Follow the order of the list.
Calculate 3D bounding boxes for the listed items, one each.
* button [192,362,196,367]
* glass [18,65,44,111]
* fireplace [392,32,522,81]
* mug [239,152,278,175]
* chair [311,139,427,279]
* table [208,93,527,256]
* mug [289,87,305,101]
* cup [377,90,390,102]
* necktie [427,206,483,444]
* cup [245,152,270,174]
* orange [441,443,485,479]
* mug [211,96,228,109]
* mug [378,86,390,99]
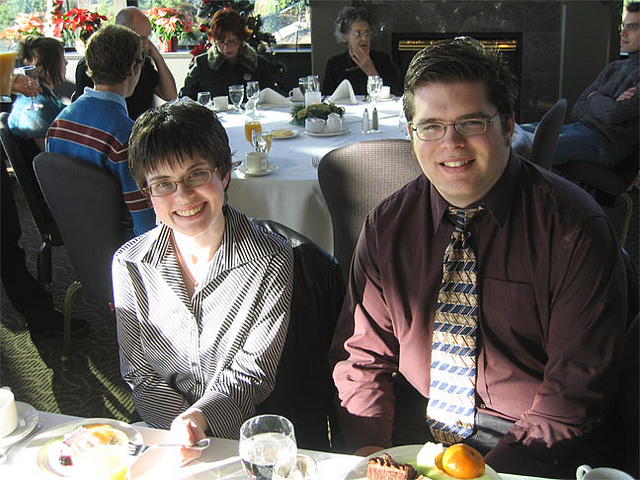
[{"bbox_3d":[-0.355,0.352,1.454,0.012,0.014,0.001,-1,17,17],"label":"button"},{"bbox_3d":[-1.737,-0.907,3.089,0.103,0.267,0.406,-13,18,-23],"label":"glass"},{"bbox_3d":[1.524,-2.050,5.782,1.403,0.653,0.277,-5,16,4],"label":"fireplace"},{"bbox_3d":[-0.319,-0.397,2.560,0.130,0.060,0.138,9,16,33],"label":"mug"},{"bbox_3d":[0.180,-0.187,2.271,0.487,0.781,0.546,-5,16,0],"label":"chair"},{"bbox_3d":[0.135,-0.538,3.301,2.207,0.809,2.083,0,17,19],"label":"table"},{"bbox_3d":[-0.190,-1.174,4.226,0.122,0.125,0.170,-2,1,-2],"label":"mug"},{"bbox_3d":[0.496,-1.114,3.975,0.101,0.080,0.105,0,2,0],"label":"cup"},{"bbox_3d":[0.375,0.240,1.442,0.135,0.637,0.200,1,17,21],"label":"necktie"},{"bbox_3d":[-0.306,-0.388,2.574,0.112,0.082,0.091,15,25,28],"label":"cup"},{"bbox_3d":[0.279,0.429,1.010,0.082,0.053,0.052,-1,17,15],"label":"orange"},{"bbox_3d":[-0.760,-1.044,3.942,0.117,0.090,0.094,-1,25,6],"label":"mug"},{"bbox_3d":[0.497,-1.151,4.026,0.093,0.074,0.097,1,-1,6],"label":"mug"}]
